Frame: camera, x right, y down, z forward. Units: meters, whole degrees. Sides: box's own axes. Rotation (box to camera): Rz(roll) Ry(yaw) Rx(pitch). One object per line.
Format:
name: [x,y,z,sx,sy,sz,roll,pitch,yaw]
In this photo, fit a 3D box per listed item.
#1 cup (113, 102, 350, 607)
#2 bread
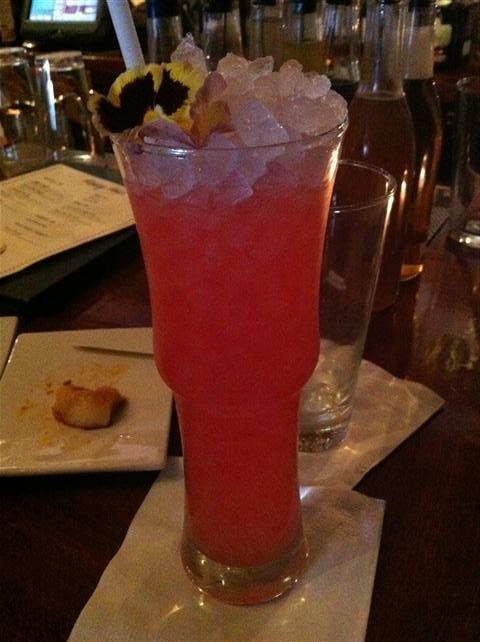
cup: [0.005,0.039,0.349,0.115,0.308,0.080,-8,27,-8]
bread: [-0.152,0.071,0.529,0.036,0.021,0.054,4,14,5]
